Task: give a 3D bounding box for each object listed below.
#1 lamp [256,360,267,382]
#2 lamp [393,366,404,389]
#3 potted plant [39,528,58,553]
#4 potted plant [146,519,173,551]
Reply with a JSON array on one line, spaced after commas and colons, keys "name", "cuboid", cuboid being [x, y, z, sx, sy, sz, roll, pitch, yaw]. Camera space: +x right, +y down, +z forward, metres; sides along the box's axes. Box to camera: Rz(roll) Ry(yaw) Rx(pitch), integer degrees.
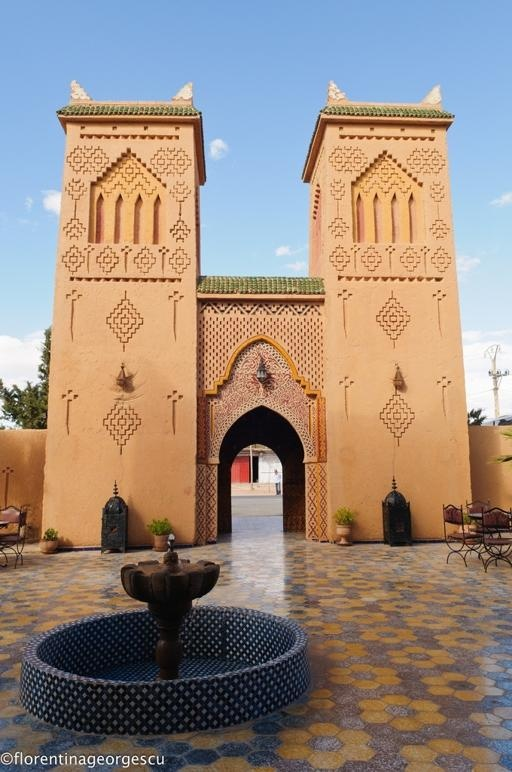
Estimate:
[{"name": "lamp", "cuboid": [0.109, -0.259, 9.998, 0.193, 0.403, 0.324, 0, -9, 1]}, {"name": "lamp", "cuboid": [2.433, -0.135, 9.980, 0.199, 0.414, 0.121, -1, -9, 5]}, {"name": "potted plant", "cuboid": [-3.139, 2.355, 8.987, 0.233, 0.371, 0.263, 3, -9, -19]}, {"name": "potted plant", "cuboid": [-1.476, 2.301, 9.123, 0.364, 0.477, 0.471, 1, -9, -9]}]
